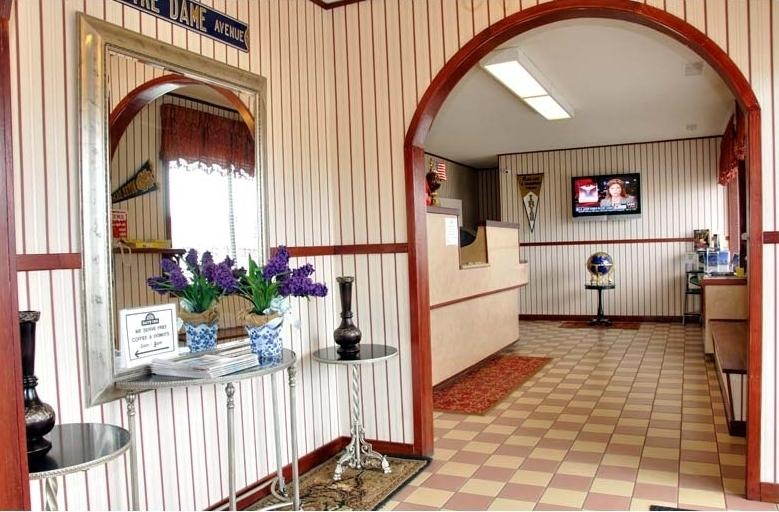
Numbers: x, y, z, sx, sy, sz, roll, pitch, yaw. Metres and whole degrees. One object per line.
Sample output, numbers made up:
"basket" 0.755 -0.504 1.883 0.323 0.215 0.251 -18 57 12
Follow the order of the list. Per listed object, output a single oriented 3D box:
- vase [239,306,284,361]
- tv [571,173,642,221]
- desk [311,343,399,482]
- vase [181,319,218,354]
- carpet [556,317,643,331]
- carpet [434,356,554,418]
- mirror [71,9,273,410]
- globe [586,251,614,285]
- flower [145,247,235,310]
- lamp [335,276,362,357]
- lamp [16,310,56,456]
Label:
"vase" -0.852 0.531 4.103 0.294 0.391 0.351 0 5 16
"tv" 4.532 -1.207 11.581 0.943 0.688 0.099 0 4 22
"desk" -0.278 1.309 4.924 0.869 1.065 0.874 -5 3 23
"vase" -1.332 0.572 3.993 0.195 0.190 0.202 -1 2 -4
"carpet" 4.199 1.325 11.225 1.462 0.173 1.276 0 5 19
"carpet" 1.265 1.604 7.163 0.885 0.070 2.502 1 5 33
"mirror" -1.456 -0.342 4.055 0.159 2.444 1.549 1 4 36
"globe" 4.267 0.253 11.372 0.551 0.639 0.535 4 13 44
"flower" -1.368 0.161 3.949 0.449 0.355 0.429 -5 6 -25
"lamp" -0.364 0.496 4.796 0.212 0.623 0.730 -2 4 -6
"lamp" -1.903 0.680 3.057 0.130 0.758 0.270 -4 4 -34
